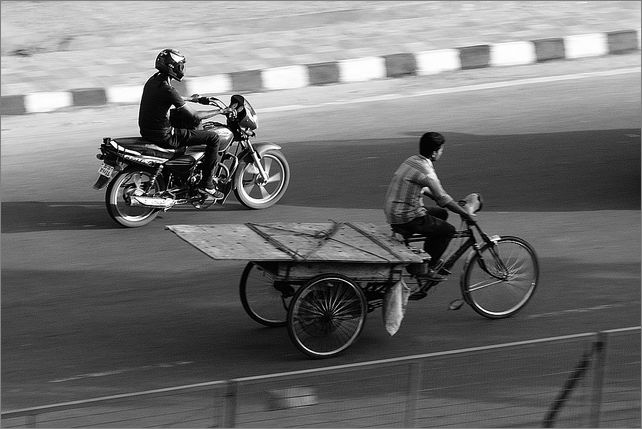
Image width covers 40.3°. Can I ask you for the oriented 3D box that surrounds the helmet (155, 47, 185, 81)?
[{"bbox_3d":[-2.004,-1.990,11.599,0.355,0.392,0.288,-2,10,-9],"label":"helmet"}]

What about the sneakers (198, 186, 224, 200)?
[{"bbox_3d":[-1.488,-0.284,11.944,0.382,0.113,0.116,7,20,-23],"label":"sneakers"}]

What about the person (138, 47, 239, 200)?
[{"bbox_3d":[-1.880,-1.175,11.702,1.085,2.023,0.353,-1,11,-5],"label":"person"}]
